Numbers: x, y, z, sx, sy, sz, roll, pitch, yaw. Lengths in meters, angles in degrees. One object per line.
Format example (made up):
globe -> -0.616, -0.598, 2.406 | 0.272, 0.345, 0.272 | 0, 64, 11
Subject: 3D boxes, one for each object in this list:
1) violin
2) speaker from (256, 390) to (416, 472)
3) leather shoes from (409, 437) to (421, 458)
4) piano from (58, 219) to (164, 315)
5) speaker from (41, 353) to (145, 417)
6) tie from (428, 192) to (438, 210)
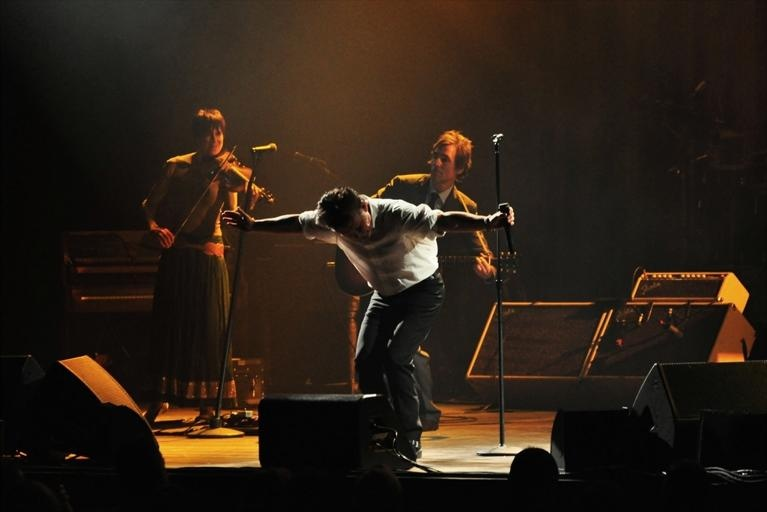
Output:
violin -> -1.360, -0.731, 8.798 | 0.810, 0.383, 0.190 | 27, -6, -10
speaker -> -0.439, 1.158, 6.560 | 0.621, 0.362, 0.609 | -3, -6, 14
leather shoes -> 0.233, 1.415, 7.001 | 0.060, 0.167, 0.072 | -3, -39, -6
piano -> -2.642, 0.176, 9.360 | 0.869, 0.855, 0.229 | 2, 6, 4
speaker -> -2.047, 0.870, 6.677 | 0.583, 0.350, 0.278 | 3, -13, -13
tie -> 0.475, -0.539, 9.285 | 0.097, 0.134, 0.034 | 2, -6, 21
